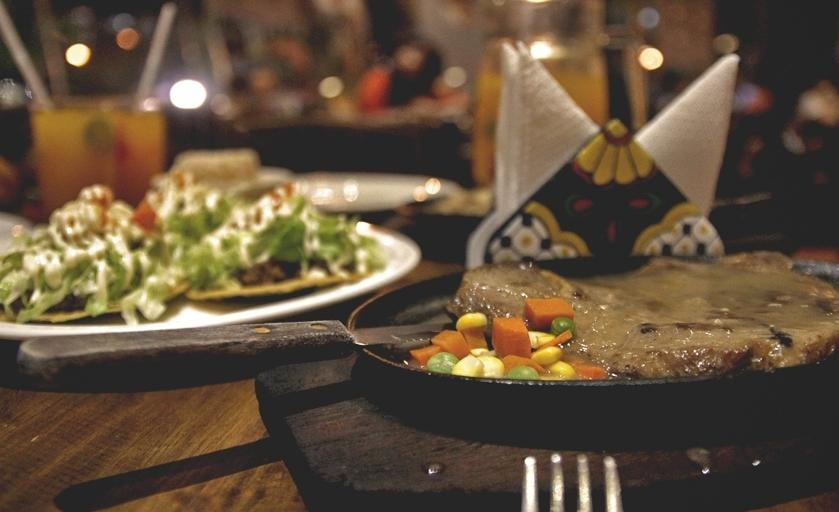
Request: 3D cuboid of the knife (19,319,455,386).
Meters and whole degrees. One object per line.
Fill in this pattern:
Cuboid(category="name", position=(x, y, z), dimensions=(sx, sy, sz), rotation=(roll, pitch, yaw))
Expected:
Cuboid(category="knife", position=(-0.386, 0.230, 1.738), dimensions=(0.969, 0.077, 0.155), rotation=(-2, 7, -15))
